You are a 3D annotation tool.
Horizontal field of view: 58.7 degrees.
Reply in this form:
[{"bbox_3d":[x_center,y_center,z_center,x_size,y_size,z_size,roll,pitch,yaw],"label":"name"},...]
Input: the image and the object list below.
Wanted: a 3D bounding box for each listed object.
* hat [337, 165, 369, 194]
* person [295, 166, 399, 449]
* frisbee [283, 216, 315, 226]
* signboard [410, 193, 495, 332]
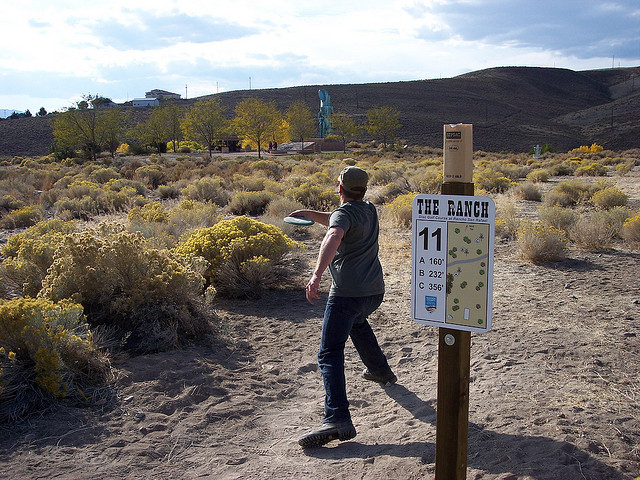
[{"bbox_3d":[0.340,-0.607,5.862,0.289,0.282,0.234,-2,7,5],"label":"hat"},{"bbox_3d":[0.214,0.661,5.731,0.518,2.758,1.103,3,9,36],"label":"person"},{"bbox_3d":[-0.216,-0.191,6.065,0.292,0.103,0.430,-2,6,-1],"label":"frisbee"},{"bbox_3d":[1.023,0.177,4.439,0.613,1.038,0.171,2,8,30],"label":"signboard"}]
